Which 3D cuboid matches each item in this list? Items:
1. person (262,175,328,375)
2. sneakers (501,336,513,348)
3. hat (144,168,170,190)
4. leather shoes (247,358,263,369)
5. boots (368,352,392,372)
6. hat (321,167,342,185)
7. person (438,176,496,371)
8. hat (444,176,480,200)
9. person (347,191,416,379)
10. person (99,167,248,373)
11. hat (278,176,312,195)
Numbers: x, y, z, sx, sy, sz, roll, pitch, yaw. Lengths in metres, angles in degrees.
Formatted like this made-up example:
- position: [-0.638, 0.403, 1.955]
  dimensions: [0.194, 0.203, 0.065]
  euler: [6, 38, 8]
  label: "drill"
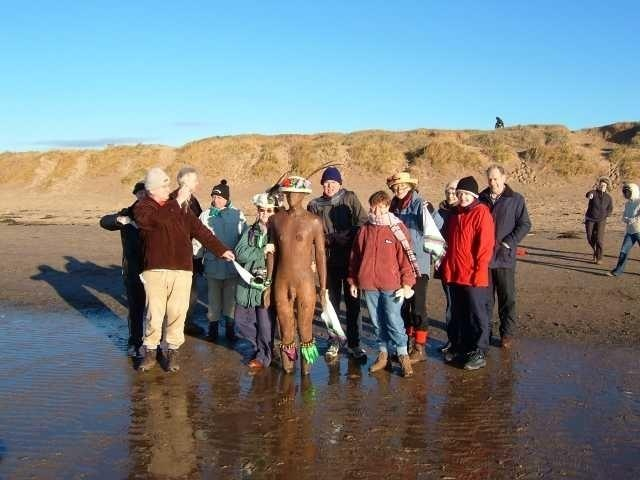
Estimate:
- position: [-0.287, 0.438, 7.177]
  dimensions: [0.734, 2.339, 0.378]
  euler: [-1, 11, -3]
  label: "person"
- position: [2.474, 1.352, 8.111]
  dimensions: [0.110, 0.147, 0.149]
  euler: [-7, -2, 17]
  label: "sneakers"
- position: [-1.927, -0.728, 7.310]
  dimensions: [0.252, 0.257, 0.266]
  euler: [9, 10, -7]
  label: "hat"
- position: [-0.788, 1.521, 7.480]
  dimensions: [0.061, 0.104, 0.164]
  euler: [25, -20, -38]
  label: "leather shoes"
- position: [0.735, 1.484, 7.450]
  dimensions: [0.357, 0.270, 0.136]
  euler: [-5, 2, -13]
  label: "boots"
- position: [0.152, -0.823, 7.942]
  dimensions: [0.215, 0.216, 0.236]
  euler: [5, -7, -1]
  label: "hat"
- position: [1.842, 0.397, 7.564]
  dimensions: [0.562, 2.278, 0.747]
  euler: [-4, 11, -19]
  label: "person"
- position: [1.835, -0.663, 7.696]
  dimensions: [0.286, 0.225, 0.419]
  euler: [4, -4, 35]
  label: "hat"
- position: [0.740, 0.520, 7.255]
  dimensions: [0.802, 2.146, 0.466]
  euler: [2, 11, 8]
  label: "person"
- position: [-1.916, 0.342, 7.453]
  dimensions: [1.086, 2.390, 0.870]
  euler: [4, 11, 21]
  label: "person"
- position: [-0.296, -0.620, 7.069]
  dimensions: [0.449, 0.247, 0.474]
  euler: [2, -1, 2]
  label: "hat"
